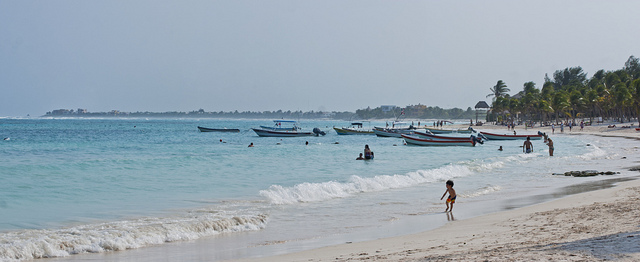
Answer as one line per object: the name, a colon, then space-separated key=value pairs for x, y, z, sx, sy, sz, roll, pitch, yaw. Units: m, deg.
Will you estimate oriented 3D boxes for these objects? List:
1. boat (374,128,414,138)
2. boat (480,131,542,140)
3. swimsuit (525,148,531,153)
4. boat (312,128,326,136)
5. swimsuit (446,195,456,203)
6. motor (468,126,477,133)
boat: x=16.186 y=0.666 z=114.242 sx=8.400 sy=1.362 sz=2.024 roll=9 pitch=1 yaw=45
boat: x=38.535 y=0.591 z=101.908 sx=13.888 sy=1.827 sz=2.866 roll=3 pitch=-3 yaw=10
swimsuit: x=31.242 y=2.893 z=73.973 sx=0.633 sy=0.702 sz=0.838 roll=3 pitch=11 yaw=22
boat: x=-0.351 y=0.418 z=121.157 sx=2.083 sy=2.015 sz=5.202 roll=2 pitch=9 yaw=17
swimsuit: x=13.783 y=7.190 z=51.874 sx=1.034 sy=0.597 sz=1.196 roll=3 pitch=-15 yaw=7
motor: x=42.026 y=-0.287 z=136.488 sx=3.401 sy=1.133 sz=0.961 roll=25 pitch=8 yaw=7
